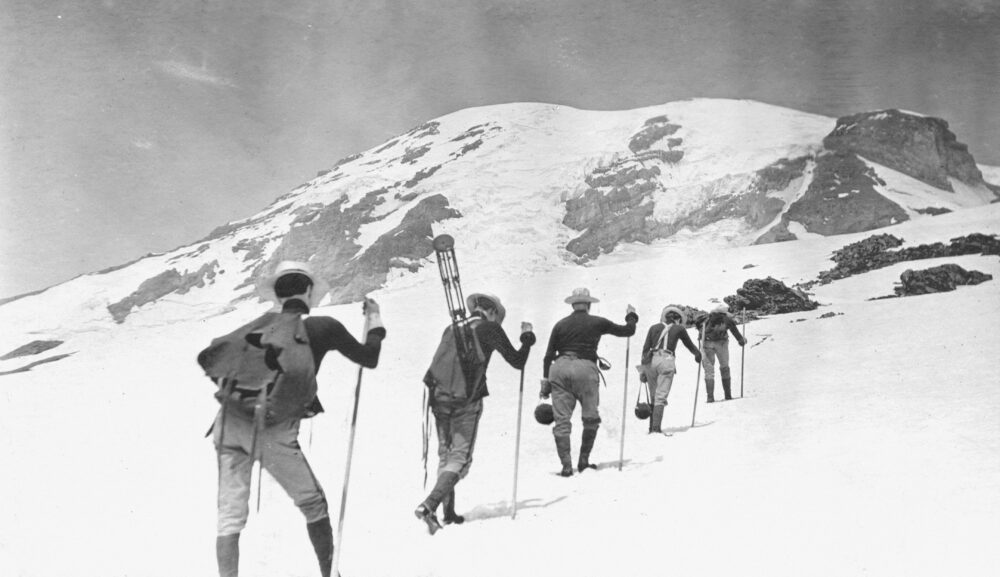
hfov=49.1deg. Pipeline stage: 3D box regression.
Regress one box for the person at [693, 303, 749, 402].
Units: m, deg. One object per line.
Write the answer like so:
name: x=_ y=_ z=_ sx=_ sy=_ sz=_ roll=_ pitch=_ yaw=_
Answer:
person: x=6.032 y=1.824 z=29.996 sx=1.085 sy=2.463 sz=1.344 roll=-4 pitch=11 yaw=9
